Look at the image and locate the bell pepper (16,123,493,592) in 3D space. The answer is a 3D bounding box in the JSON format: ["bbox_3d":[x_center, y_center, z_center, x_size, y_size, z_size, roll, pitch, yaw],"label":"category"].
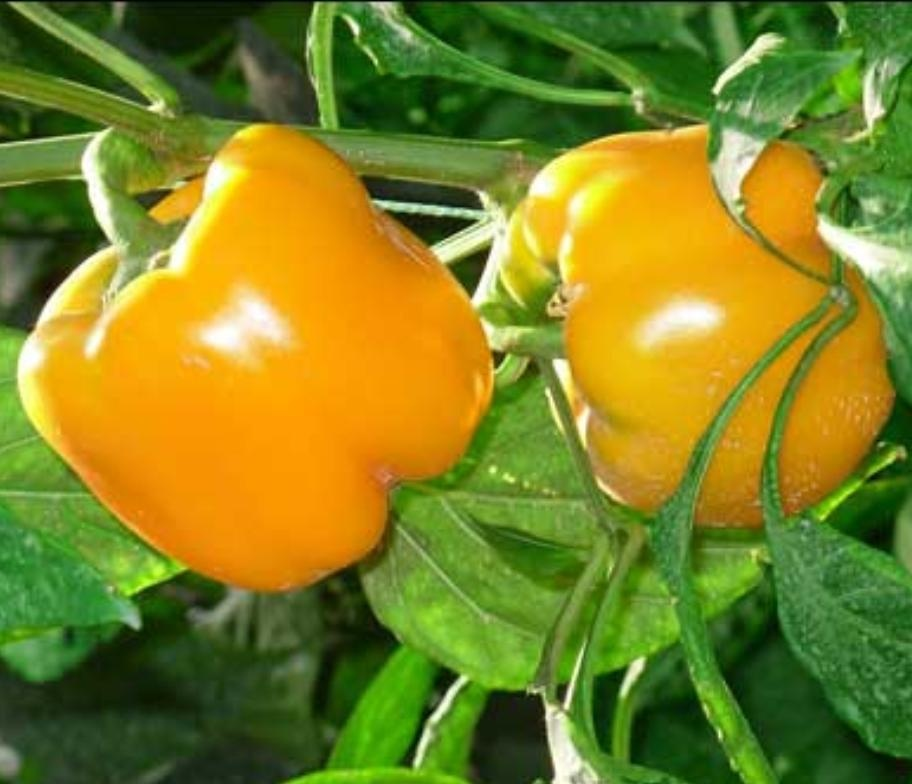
[{"bbox_3d":[-0.081,-0.011,0.426,0.189,0.153,0.115,-9,41,1],"label":"bell pepper"}]

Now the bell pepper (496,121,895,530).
[{"bbox_3d":[0.087,-0.026,0.504,0.179,0.146,0.162,-26,69,2],"label":"bell pepper"}]
